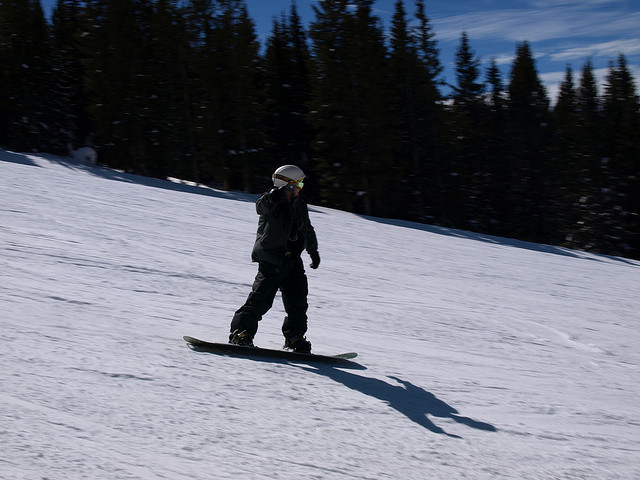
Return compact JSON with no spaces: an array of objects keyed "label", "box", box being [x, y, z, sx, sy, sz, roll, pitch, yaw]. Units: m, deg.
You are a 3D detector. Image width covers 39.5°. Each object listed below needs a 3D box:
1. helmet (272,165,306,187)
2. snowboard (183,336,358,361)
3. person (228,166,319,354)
[{"label":"helmet","box":[-0.513,-1.004,13.953,0.608,0.268,0.348,12,-2,-4]},{"label":"snowboard","box":[-0.888,1.724,14.040,3.855,0.171,0.297,3,-27,-11]},{"label":"person","box":[-0.667,0.304,13.915,1.379,2.939,0.524,2,4,-12]}]
